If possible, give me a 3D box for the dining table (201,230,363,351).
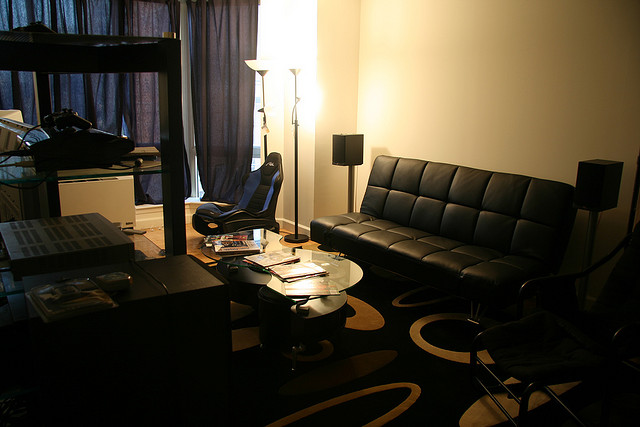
[{"bbox_3d":[-0.259,0.577,3.782,0.841,0.477,1.348,-14,22,-33],"label":"dining table"}]

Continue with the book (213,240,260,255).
[{"bbox_3d":[-0.692,0.286,3.987,0.192,0.042,0.188,-4,17,-24],"label":"book"}]

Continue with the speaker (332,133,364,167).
[{"bbox_3d":[0.289,-0.668,5.092,0.261,0.300,0.298,-6,11,-24],"label":"speaker"}]

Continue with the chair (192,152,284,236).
[{"bbox_3d":[-0.883,-0.173,5.457,0.944,0.896,0.782,-5,12,-30],"label":"chair"}]
